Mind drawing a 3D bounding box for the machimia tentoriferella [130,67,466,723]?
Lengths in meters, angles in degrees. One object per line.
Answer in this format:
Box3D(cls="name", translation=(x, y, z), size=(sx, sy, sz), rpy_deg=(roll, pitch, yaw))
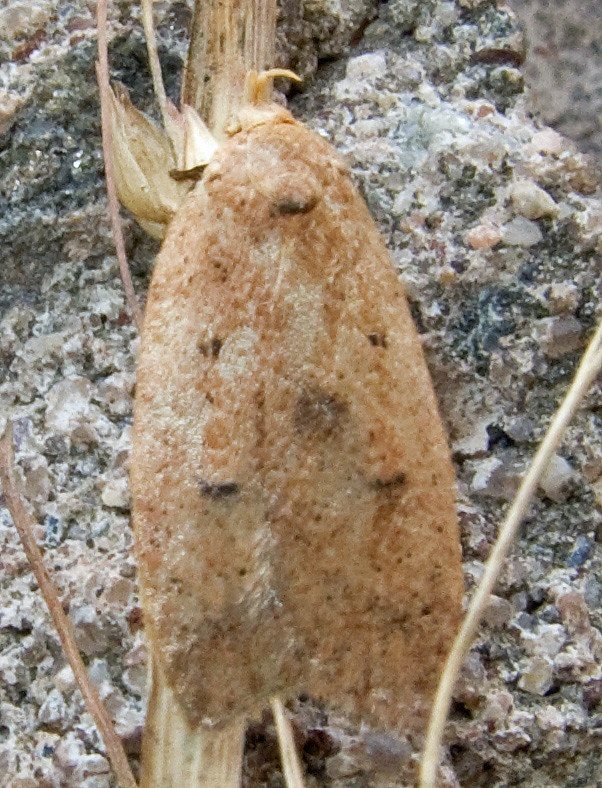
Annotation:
Box3D(cls="machimia tentoriferella", translation=(-0.018, 0.035, 1.864), size=(0.288, 0.183, 0.708), rpy_deg=(-3, 94, -6))
